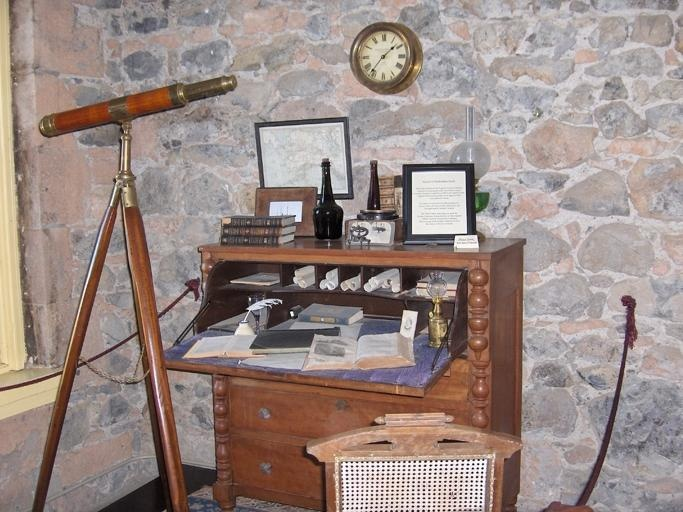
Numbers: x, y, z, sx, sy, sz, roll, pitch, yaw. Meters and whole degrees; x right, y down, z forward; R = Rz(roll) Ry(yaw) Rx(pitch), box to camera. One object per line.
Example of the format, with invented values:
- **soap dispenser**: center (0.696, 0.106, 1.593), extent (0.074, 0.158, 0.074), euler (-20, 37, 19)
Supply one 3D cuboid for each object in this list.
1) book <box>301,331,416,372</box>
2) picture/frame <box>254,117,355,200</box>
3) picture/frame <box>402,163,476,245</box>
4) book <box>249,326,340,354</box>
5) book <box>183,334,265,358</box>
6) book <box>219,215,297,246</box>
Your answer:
- **book**: center (0.089, 0.454, 2.956), extent (0.505, 0.141, 0.302), euler (3, 5, 3)
- **picture/frame**: center (-0.195, -0.573, 3.609), extent (0.548, 0.466, 0.066), euler (0, 8, 9)
- **picture/frame**: center (0.491, -0.248, 3.116), extent (0.418, 0.438, 0.033), euler (0, -4, 3)
- **book**: center (-0.231, 0.421, 3.060), extent (0.393, 0.057, 0.354), euler (1, 6, 18)
- **book**: center (-0.585, 0.452, 3.074), extent (0.349, 0.090, 0.245), euler (3, 5, 1)
- **book**: center (-0.454, -0.149, 3.370), extent (0.427, 0.155, 0.285), euler (3, 6, 20)
